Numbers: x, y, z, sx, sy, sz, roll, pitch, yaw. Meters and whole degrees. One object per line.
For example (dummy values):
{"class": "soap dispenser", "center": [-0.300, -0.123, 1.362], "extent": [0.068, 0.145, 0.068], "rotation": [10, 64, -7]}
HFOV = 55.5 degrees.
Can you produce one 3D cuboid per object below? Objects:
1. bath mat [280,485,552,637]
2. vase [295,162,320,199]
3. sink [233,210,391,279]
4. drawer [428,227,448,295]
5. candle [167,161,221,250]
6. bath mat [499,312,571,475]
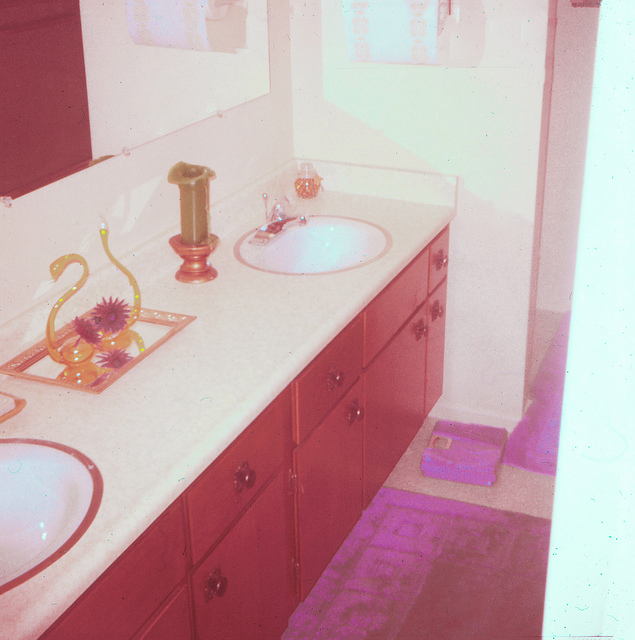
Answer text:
{"class": "bath mat", "center": [0.379, 0.827, 1.971], "extent": [0.580, 0.004, 0.935], "rotation": [9, 30, 16]}
{"class": "vase", "center": [-0.041, -0.536, 2.334], "extent": [0.089, 0.144, 0.090], "rotation": [11, 35, 19]}
{"class": "sink", "center": [-0.005, -0.259, 2.308], "extent": [0.561, 0.182, 0.698], "rotation": [5, -3, 21]}
{"class": "drawer", "center": [0.440, -0.229, 2.234], "extent": [0.049, 0.189, 0.183], "rotation": [7, 21, 22]}
{"class": "candle", "center": [-0.338, -0.321, 1.661], "extent": [0.113, 0.260, 0.110], "rotation": [-4, 32, -20]}
{"class": "bath mat", "center": [1.055, 0.339, 2.865], "extent": [0.210, 0.094, 1.098], "rotation": [11, 30, 21]}
